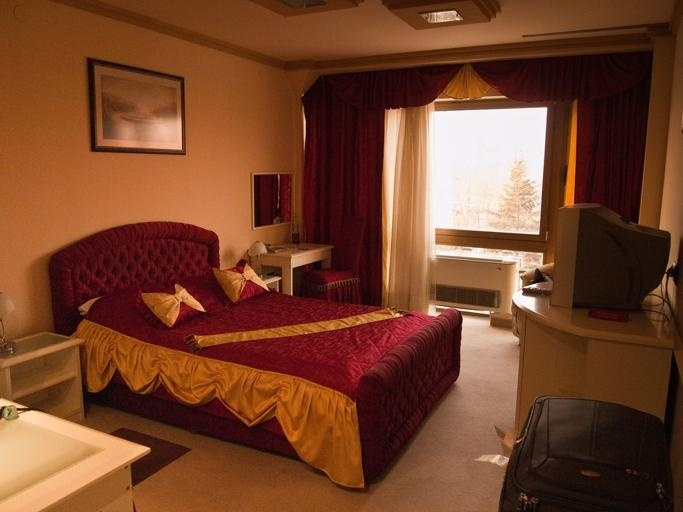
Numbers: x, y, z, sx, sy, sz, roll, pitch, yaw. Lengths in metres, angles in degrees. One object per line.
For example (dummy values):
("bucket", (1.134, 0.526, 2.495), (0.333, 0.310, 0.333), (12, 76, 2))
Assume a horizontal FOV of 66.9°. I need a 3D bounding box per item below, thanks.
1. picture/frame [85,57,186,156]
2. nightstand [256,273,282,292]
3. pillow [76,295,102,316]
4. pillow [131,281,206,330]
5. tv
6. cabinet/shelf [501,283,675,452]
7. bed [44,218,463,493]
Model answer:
("picture/frame", (-1.897, -1.361, 4.672), (0.046, 0.757, 1.011), (3, 6, 30))
("nightstand", (-0.833, 0.287, 5.971), (0.219, 0.225, 0.224), (9, 15, 30))
("pillow", (-2.101, 0.403, 4.297), (0.120, 0.042, 0.150), (1, 26, 28))
("pillow", (-1.383, 0.410, 4.344), (0.379, 0.129, 0.373), (36, 24, 23))
("tv", (1.798, -0.003, 3.576), (0.670, 0.691, 0.688), (1, 6, 22))
("cabinet/shelf", (1.654, 0.687, 3.527), (0.737, 1.040, 1.040), (3, 9, 19))
("bed", (-0.717, 0.566, 4.235), (2.916, 1.402, 1.415), (7, 15, 22))
